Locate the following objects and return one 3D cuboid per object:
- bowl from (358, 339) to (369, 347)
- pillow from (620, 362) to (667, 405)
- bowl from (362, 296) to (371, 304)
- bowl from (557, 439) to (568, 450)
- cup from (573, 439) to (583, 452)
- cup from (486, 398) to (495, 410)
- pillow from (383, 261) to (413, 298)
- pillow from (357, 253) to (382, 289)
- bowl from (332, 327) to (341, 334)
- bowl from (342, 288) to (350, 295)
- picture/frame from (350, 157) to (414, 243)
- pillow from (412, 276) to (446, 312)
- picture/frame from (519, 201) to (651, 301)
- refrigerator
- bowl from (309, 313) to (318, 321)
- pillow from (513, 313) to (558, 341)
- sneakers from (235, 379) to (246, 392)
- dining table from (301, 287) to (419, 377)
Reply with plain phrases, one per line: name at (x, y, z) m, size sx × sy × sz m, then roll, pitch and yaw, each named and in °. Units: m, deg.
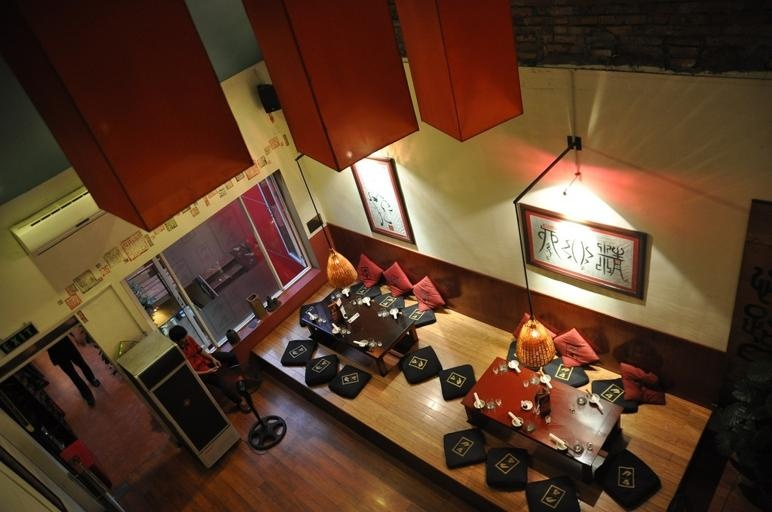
bowl at (-0.331, 1.353, 7.839) m, size 0.140 × 0.108 × 0.168 m, roll 25°, pitch -10°, yaw -1°
pillow at (3.392, 1.716, 6.685) m, size 0.495 × 0.518 × 0.170 m, roll 12°, pitch 12°, yaw 29°
bowl at (-0.327, 0.754, 8.631) m, size 0.089 × 0.115 × 0.109 m, roll -1°, pitch -4°, yaw 12°
bowl at (2.148, 2.316, 6.130) m, size 0.125 × 0.072 × 0.049 m, roll 25°, pitch -10°, yaw -2°
cup at (2.321, 2.305, 6.111) m, size 0.113 × 0.141 × 0.092 m, roll 28°, pitch -11°, yaw -24°
cup at (1.389, 1.967, 6.727) m, size 0.095 × 0.103 × 0.074 m, roll -19°, pitch -48°, yaw 26°
pillow at (0.199, 0.400, 8.820) m, size 0.519 × 0.156 × 0.590 m, roll 46°, pitch -43°, yaw 23°
pillow at (-0.298, 0.292, 9.209) m, size 0.522 × 0.513 × 0.258 m, roll 24°, pitch -10°, yaw 4°
bowl at (-0.797, 1.193, 8.157) m, size 0.102 × 0.077 × 0.102 m, roll -9°, pitch 15°, yaw 2°
bowl at (-0.709, 0.611, 9.028) m, size 0.105 × 0.110 × 0.082 m, roll 3°, pitch -36°, yaw 31°
picture/frame at (-0.029, -0.933, 7.992) m, size 1.127 × 0.059 × 1.354 m, roll 25°, pitch -35°, yaw 33°
pillow at (0.744, 0.674, 8.568) m, size 0.612 × 0.447 × 0.286 m, roll 24°, pitch -10°, yaw 3°
picture/frame at (2.522, -0.107, 6.305) m, size 1.348 × 0.055 × 0.857 m, roll 18°, pitch -43°, yaw 34°
refrigerator at (-3.062, 2.188, 7.566) m, size 0.852 × 0.782 × 2.473 m, roll 56°, pitch -10°, yaw 52°
bowl at (-1.223, 1.033, 8.570) m, size 0.039 × 0.054 × 0.177 m, roll 17°, pitch 4°, yaw 11°
pillow at (2.176, 1.021, 7.378) m, size 0.192 × 0.481 × 0.467 m, roll 8°, pitch -19°, yaw -45°
sneakers at (-2.167, 1.920, 7.548) m, size 0.171 × 0.193 × 0.177 m, roll -10°, pitch -2°, yaw 3°
dining table at (-0.442, 1.207, 8.579) m, size 1.997 × 0.982 × 0.529 m, roll 16°, pitch -44°, yaw 42°
